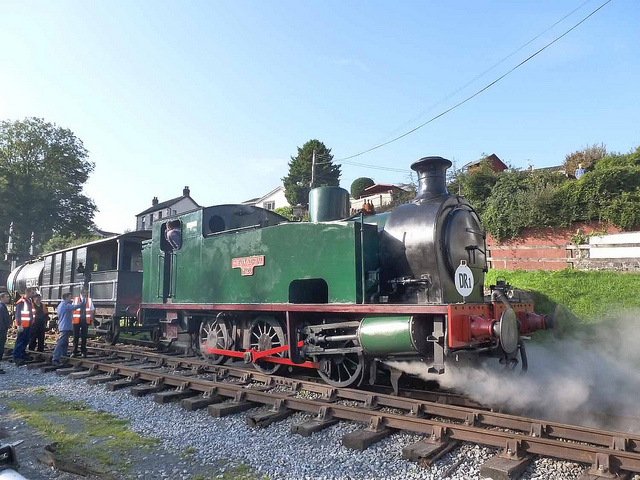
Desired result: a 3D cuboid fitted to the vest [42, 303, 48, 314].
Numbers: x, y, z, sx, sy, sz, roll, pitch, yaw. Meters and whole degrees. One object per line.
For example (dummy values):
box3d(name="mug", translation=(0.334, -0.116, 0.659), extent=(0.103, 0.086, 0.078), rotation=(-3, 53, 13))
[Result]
box3d(name="vest", translation=(-8.096, 1.996, 13.593), extent=(0.256, 0.273, 0.361), rotation=(-2, -7, -26))
